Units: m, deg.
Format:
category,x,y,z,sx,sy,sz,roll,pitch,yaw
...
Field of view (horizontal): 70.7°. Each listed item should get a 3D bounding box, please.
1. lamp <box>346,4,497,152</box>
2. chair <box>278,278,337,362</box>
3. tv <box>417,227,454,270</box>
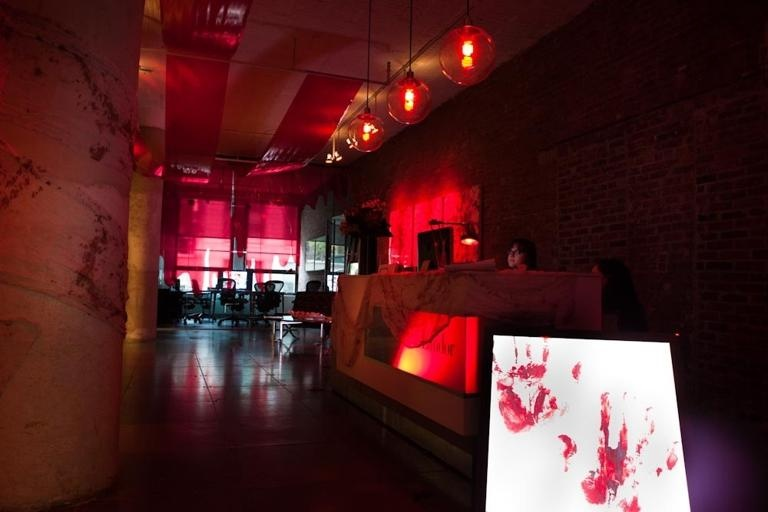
category,x,y,z,sx,sy,sz,roll,pitch,yaw
lamp,0.532,-2.475,7.304,0.353,1.577,1.494,13,-20,-28
chair,-1.594,1.112,9.379,1.271,1.629,1.205,0,-9,6
tv,0.455,-0.058,4.738,0.045,0.301,0.419,1,-2,-28
